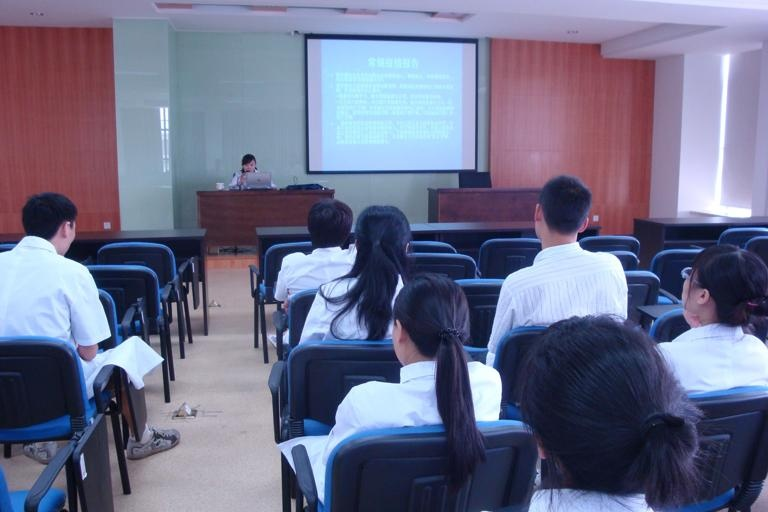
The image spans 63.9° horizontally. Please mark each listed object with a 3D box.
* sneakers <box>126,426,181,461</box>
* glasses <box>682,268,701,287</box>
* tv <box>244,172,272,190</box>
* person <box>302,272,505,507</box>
[{"bbox_3d":[-1.323,1.059,3.590,0.112,0.145,0.301,4,7,45],"label":"sneakers"},{"bbox_3d":[1.360,0.092,2.731,0.078,0.037,0.097,13,28,-13],"label":"glasses"},{"bbox_3d":[-1.750,-1.040,8.562,0.324,0.228,0.233,1,9,-14],"label":"tv"},{"bbox_3d":[0.129,0.399,2.452,0.700,1.054,0.755,-2,10,-16],"label":"person"}]
